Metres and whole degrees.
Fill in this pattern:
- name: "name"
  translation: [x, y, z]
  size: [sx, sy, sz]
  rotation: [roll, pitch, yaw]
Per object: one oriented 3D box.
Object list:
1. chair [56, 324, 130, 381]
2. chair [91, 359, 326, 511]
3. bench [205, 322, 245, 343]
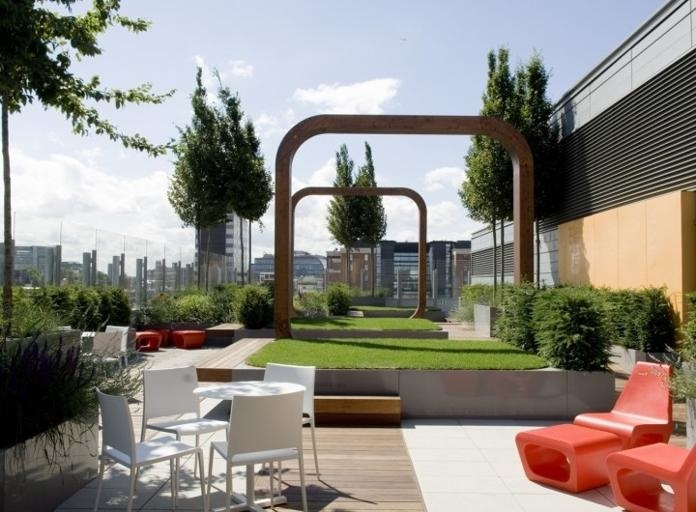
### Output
- name: "chair"
  translation: [-3.496, 1.313, 8.295]
  size: [0.875, 0.539, 1.250]
  rotation: [7, -9, -11]
- name: "chair"
  translation: [-1.442, 1.968, 6.527]
  size: [2.180, 1.638, 1.248]
  rotation: [6, -9, -34]
- name: "bench"
  translation: [-3.227, 1.994, 15.460]
  size: [0.574, 0.352, 0.646]
  rotation: [0, -3, 6]
